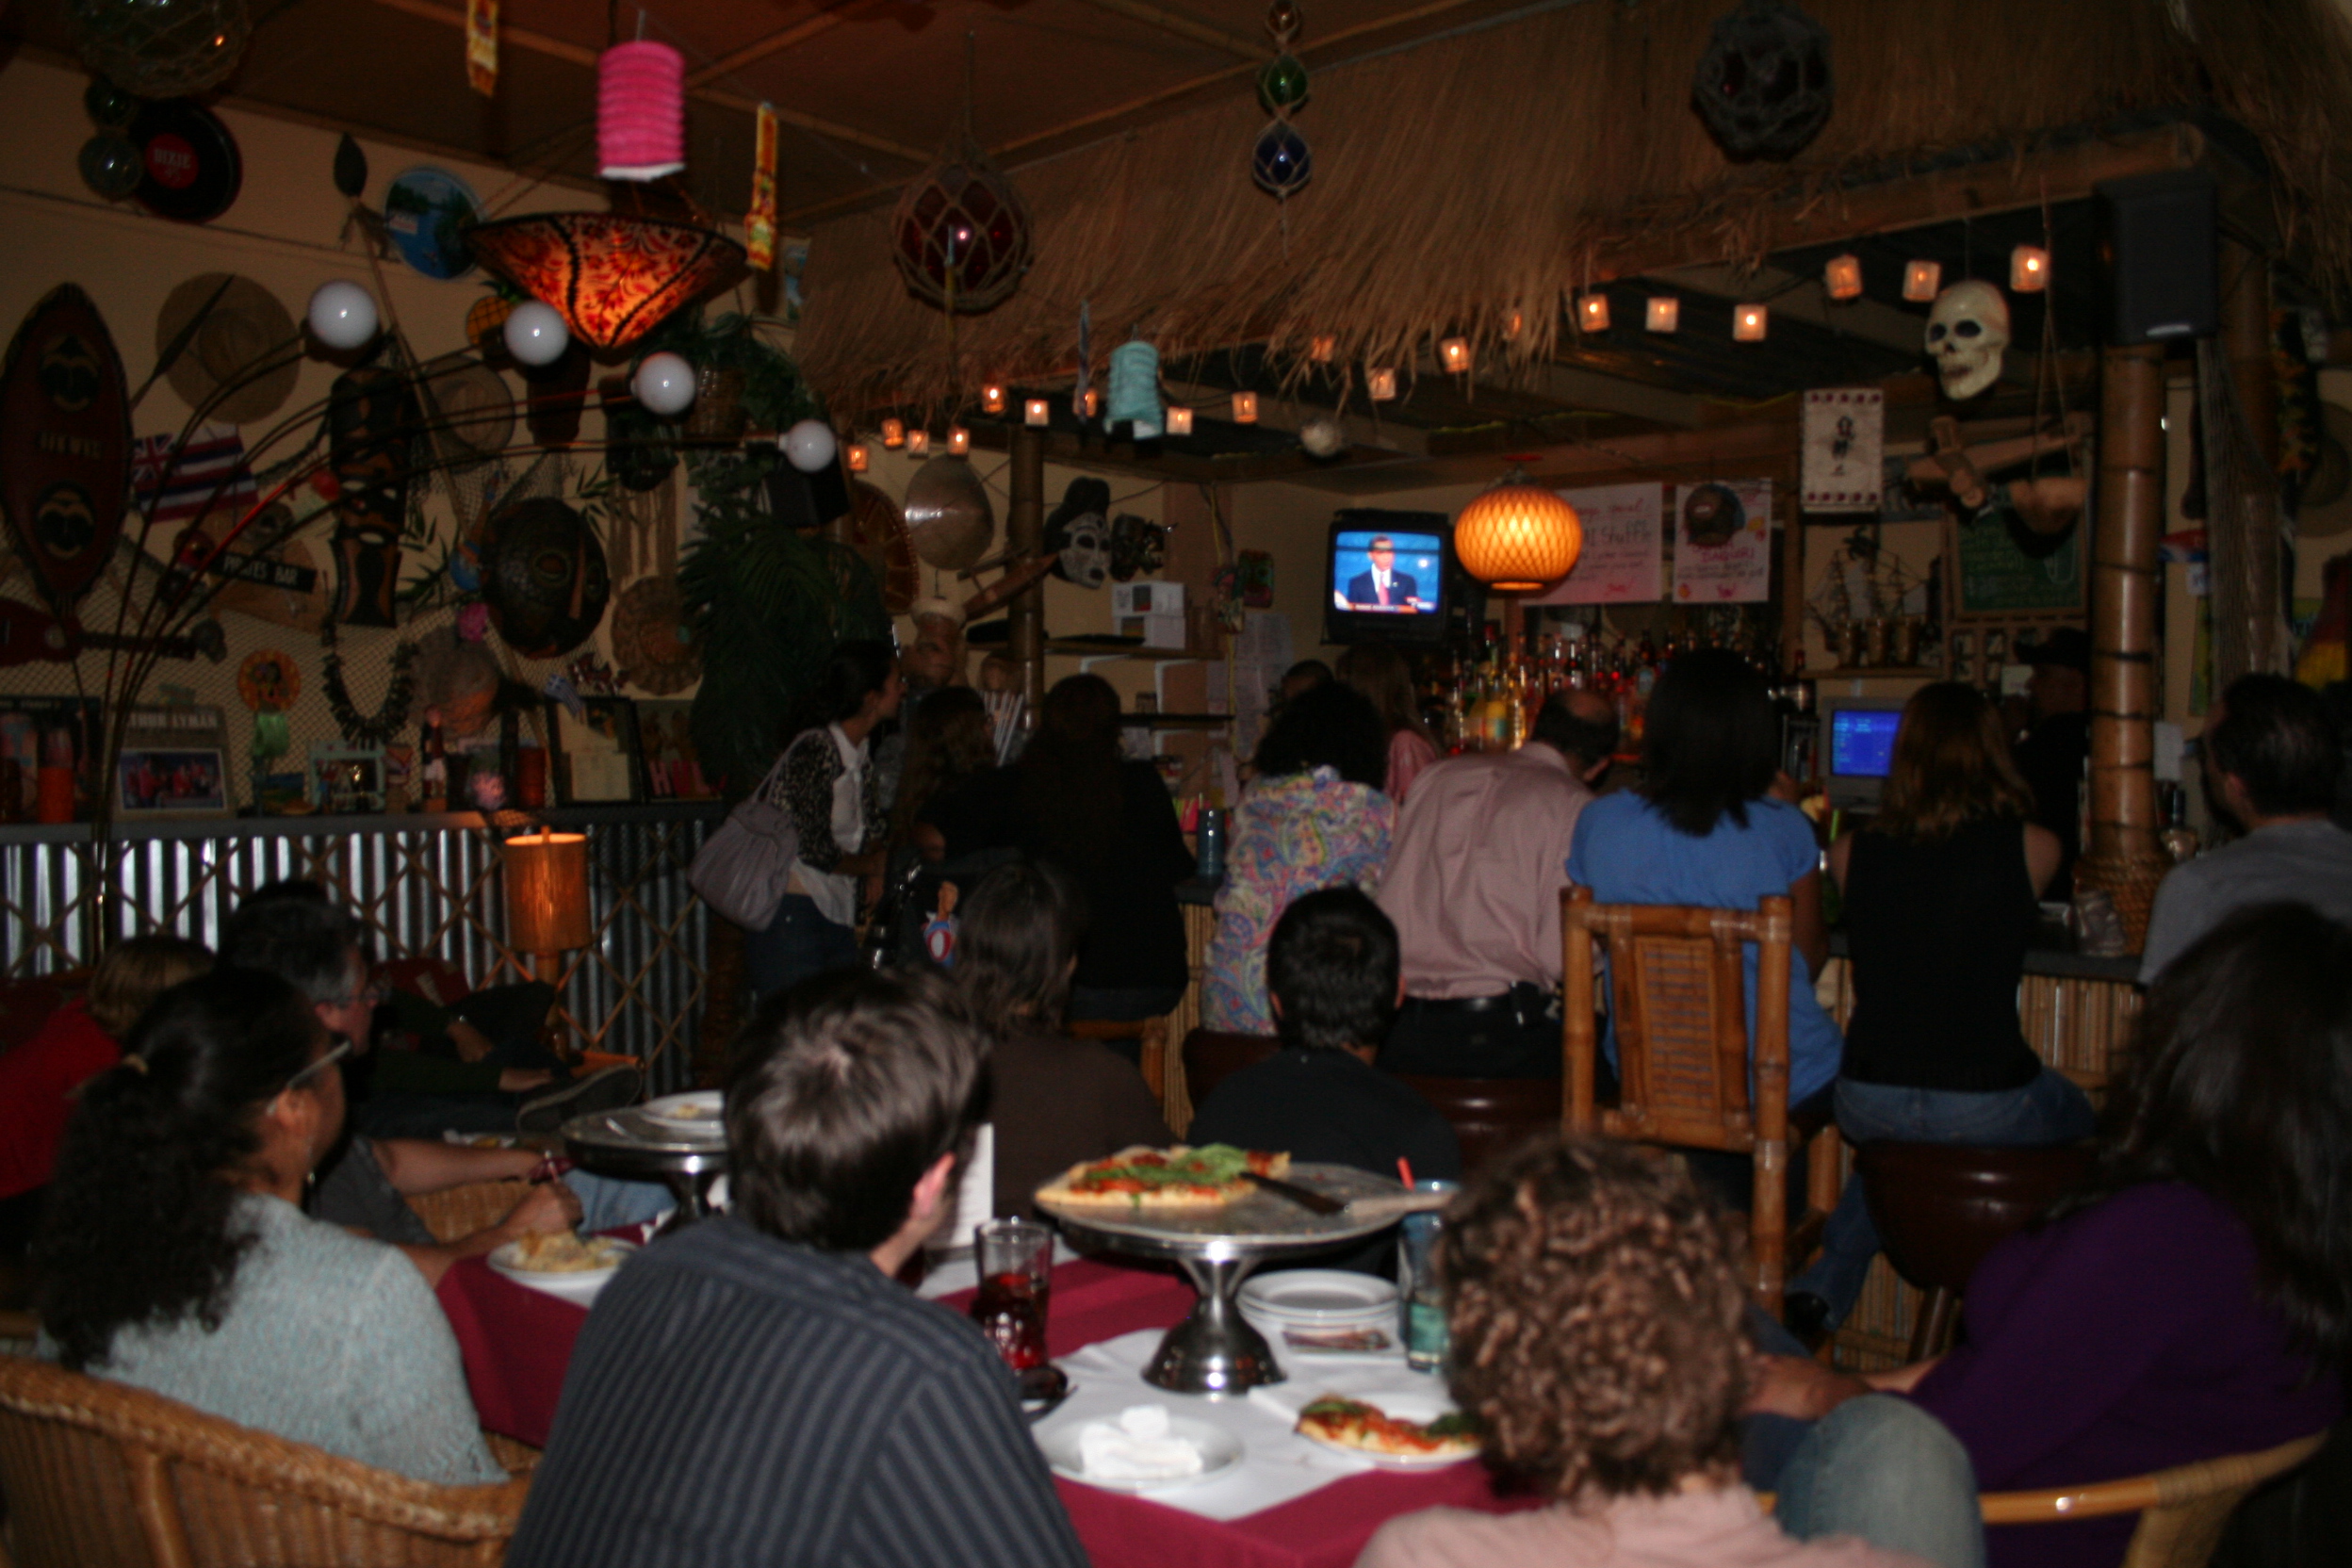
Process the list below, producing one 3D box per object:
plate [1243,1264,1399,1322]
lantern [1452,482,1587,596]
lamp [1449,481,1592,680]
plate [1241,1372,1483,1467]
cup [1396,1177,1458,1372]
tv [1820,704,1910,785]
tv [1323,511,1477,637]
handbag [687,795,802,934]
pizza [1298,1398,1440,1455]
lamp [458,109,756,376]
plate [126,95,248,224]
[{"bbox_3d":[0.289,1.049,3.781,0.188,0.027,0.195,1,3,14],"label":"plate"},{"bbox_3d":[1.693,-1.228,9.117,0.623,0.529,0.643,0,2,27],"label":"lantern"},{"bbox_3d":[1.675,-0.997,9.144,0.639,0.973,0.634,0,6,8],"label":"lamp"},{"bbox_3d":[0.362,1.165,3.370,0.269,0.049,0.283,0,4,-9],"label":"plate"},{"bbox_3d":[0.524,0.982,3.576,0.154,0.368,0.148,-1,-12,0],"label":"cup"},{"bbox_3d":[3.297,-0.191,8.822,0.401,0.425,0.227,8,6,39],"label":"tv"},{"bbox_3d":[1.352,-1.418,11.982,0.811,0.790,0.461,2,17,4],"label":"tv"},{"bbox_3d":[-1.659,0.315,7.143,0.395,0.488,0.207,27,-8,23],"label":"handbag"},{"bbox_3d":[0.354,1.161,3.321,0.171,0.037,0.101,0,0,24],"label":"pizza"},{"bbox_3d":[-1.650,-1.566,5.679,0.706,0.443,0.731,-2,-1,2],"label":"lamp"},{"bbox_3d":[-4.111,-2.637,7.723,0.462,0.520,0.304,0,1,-40],"label":"plate"}]
